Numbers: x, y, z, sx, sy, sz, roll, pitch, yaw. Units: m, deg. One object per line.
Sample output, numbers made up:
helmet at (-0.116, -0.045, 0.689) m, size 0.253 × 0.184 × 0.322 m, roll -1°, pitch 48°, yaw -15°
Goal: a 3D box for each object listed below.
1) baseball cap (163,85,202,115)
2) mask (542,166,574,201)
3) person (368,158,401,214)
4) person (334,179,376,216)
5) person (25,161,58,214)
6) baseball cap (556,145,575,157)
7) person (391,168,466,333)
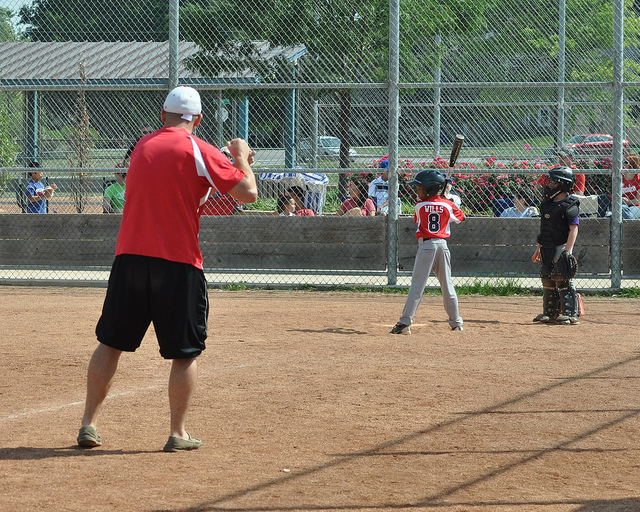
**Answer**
baseball cap at (-1.068, -1.204, 8.360) m, size 0.288 × 0.206 × 0.198 m, roll -1°, pitch 13°, yaw -8°
mask at (2.760, -0.830, 12.395) m, size 0.410 × 0.370 × 0.328 m, roll 2°, pitch 5°, yaw 3°
person at (0.955, -1.053, 16.605) m, size 0.519 × 0.819 × 0.543 m, roll 7°, pitch 2°, yaw 41°
person at (0.538, -0.755, 16.120) m, size 0.578 × 0.719 × 0.437 m, roll -3°, pitch -2°, yaw -1°
person at (-3.991, -0.881, 15.438) m, size 0.426 × 0.636 × 1.144 m, roll -3°, pitch 13°, yaw -14°
baseball cap at (3.162, -1.347, 13.933) m, size 0.227 × 0.104 × 0.284 m, roll 0°, pitch 4°, yaw 3°
person at (1.199, -0.027, 11.576) m, size 0.779 × 1.702 × 0.937 m, roll 2°, pitch 13°, yaw 7°
